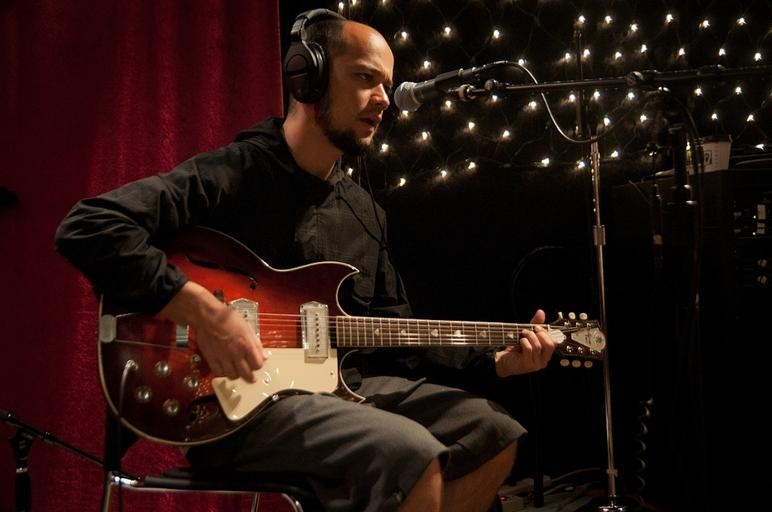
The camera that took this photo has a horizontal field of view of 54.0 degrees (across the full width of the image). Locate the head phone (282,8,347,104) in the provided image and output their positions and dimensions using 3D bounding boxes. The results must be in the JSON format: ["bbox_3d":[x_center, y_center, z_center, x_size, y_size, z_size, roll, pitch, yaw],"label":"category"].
[{"bbox_3d":[-0.347,-0.854,3.328,0.137,0.412,0.296,2,15,24],"label":"head phone"}]
